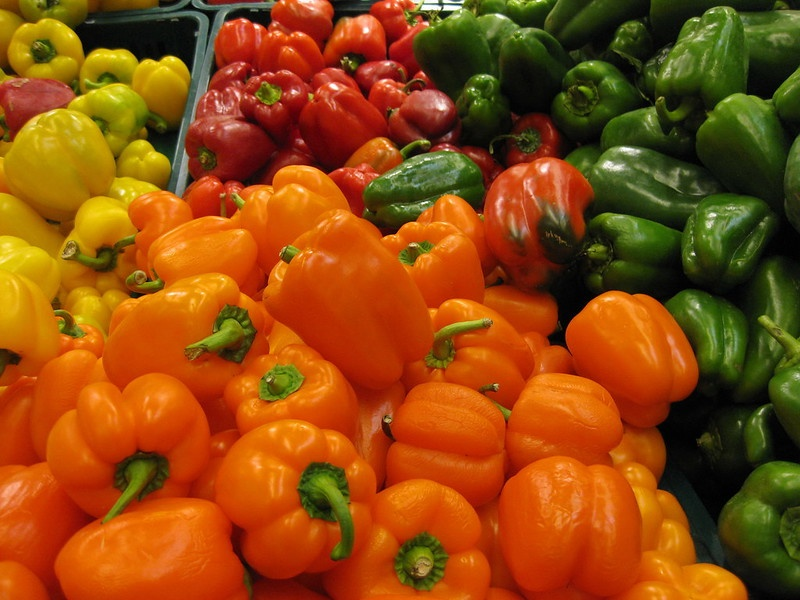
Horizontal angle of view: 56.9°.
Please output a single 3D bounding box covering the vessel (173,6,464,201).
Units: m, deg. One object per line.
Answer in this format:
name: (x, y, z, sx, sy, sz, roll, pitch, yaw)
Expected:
vessel: (-0.638, -1.470, 5.640, 1.568, 0.778, 1.863, -1, 34, 9)
